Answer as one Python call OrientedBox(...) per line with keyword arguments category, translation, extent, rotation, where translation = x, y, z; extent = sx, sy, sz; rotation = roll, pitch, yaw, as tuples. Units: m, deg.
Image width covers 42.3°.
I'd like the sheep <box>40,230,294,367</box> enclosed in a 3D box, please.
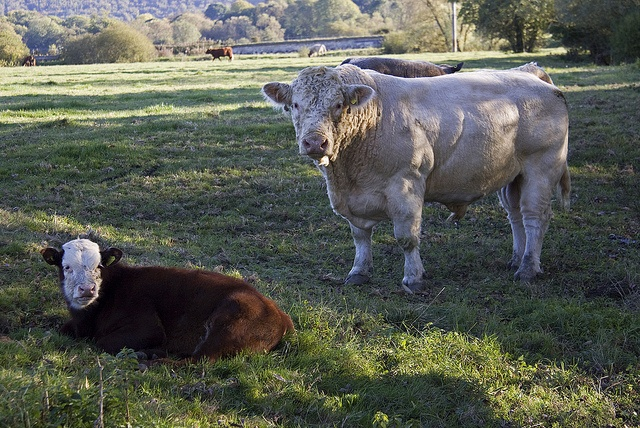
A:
OrientedBox(category="sheep", translation=(-2.375, 1.391, 12.830), extent=(4.034, 1.688, 1.615), rotation=(12, -4, 8))
